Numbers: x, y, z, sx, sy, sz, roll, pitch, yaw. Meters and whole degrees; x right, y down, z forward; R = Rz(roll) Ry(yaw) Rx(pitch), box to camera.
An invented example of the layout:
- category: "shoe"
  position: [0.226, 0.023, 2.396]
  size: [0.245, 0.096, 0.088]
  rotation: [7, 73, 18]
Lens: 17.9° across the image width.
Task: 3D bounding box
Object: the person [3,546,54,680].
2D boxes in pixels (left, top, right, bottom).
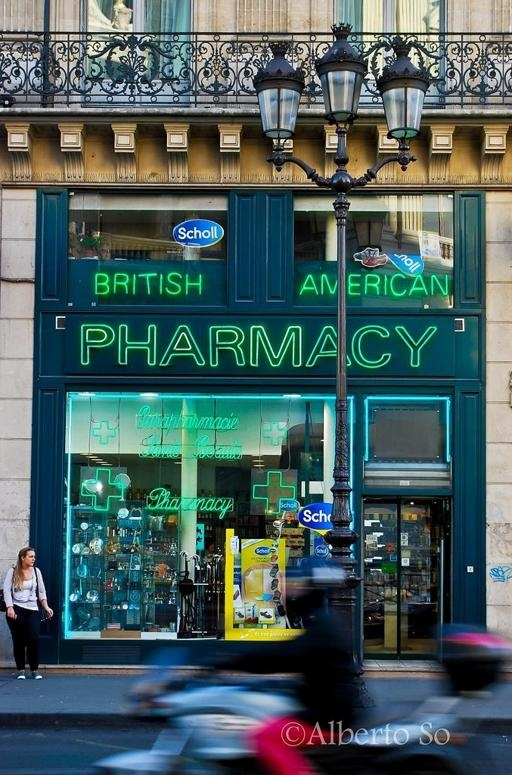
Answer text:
- category: "person"
  position: [-2.660, 2.620, 18.780]
  size: [0.491, 1.513, 0.861]
  rotation: [-9, 2, 7]

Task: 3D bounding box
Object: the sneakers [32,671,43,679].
- category: "sneakers"
  position: [-2.539, 3.310, 18.557]
  size: [0.059, 0.077, 0.182]
  rotation: [2, -11, -19]

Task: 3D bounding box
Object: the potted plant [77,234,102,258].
- category: "potted plant"
  position: [-2.087, -1.756, 20.320]
  size: [0.257, 0.290, 0.271]
  rotation: [2, -4, -8]

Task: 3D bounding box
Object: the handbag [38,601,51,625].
- category: "handbag"
  position: [-2.545, 2.697, 19.309]
  size: [0.152, 0.232, 0.088]
  rotation: [-1, -28, -18]
